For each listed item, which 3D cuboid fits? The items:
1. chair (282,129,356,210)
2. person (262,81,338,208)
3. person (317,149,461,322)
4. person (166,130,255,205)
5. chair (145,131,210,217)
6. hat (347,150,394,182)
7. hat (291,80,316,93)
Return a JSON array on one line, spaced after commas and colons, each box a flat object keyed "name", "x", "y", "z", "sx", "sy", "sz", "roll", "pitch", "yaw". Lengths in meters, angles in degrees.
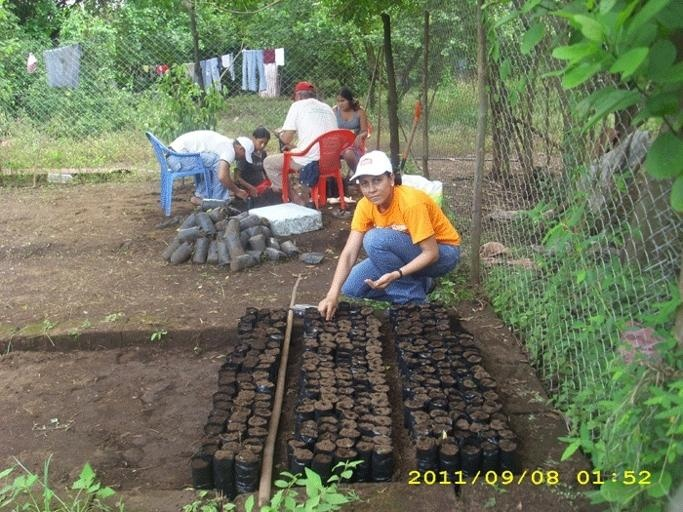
[{"name": "chair", "x": -0.298, "y": -1.073, "z": 7.831, "sx": 0.792, "sy": 0.984, "sz": 0.733, "roll": -21, "pitch": 50, "yaw": -19}, {"name": "person", "x": -0.401, "y": -1.422, "z": 8.288, "sx": 0.805, "sy": 1.637, "sz": 1.025, "roll": -11, "pitch": 12, "yaw": -37}, {"name": "person", "x": 0.365, "y": -0.190, "z": 4.820, "sx": 1.017, "sy": 1.241, "sz": 0.680, "roll": -2, "pitch": 16, "yaw": 9}, {"name": "person", "x": -1.701, "y": -1.210, "z": 8.112, "sx": 1.045, "sy": 0.798, "sz": 0.586, "roll": 6, "pitch": 15, "yaw": -5}, {"name": "chair", "x": -1.975, "y": -1.060, "z": 7.924, "sx": 0.696, "sy": 0.868, "sz": 0.617, "roll": -4, "pitch": 12, "yaw": -14}, {"name": "hat", "x": 0.208, "y": -0.644, "z": 4.527, "sx": 0.280, "sy": 0.187, "sz": 0.219, "roll": -5, "pitch": 16, "yaw": -2}, {"name": "hat", "x": -0.483, "y": -2.185, "z": 8.343, "sx": 0.224, "sy": 0.159, "sz": 0.303, "roll": -4, "pitch": 29, "yaw": -8}]
